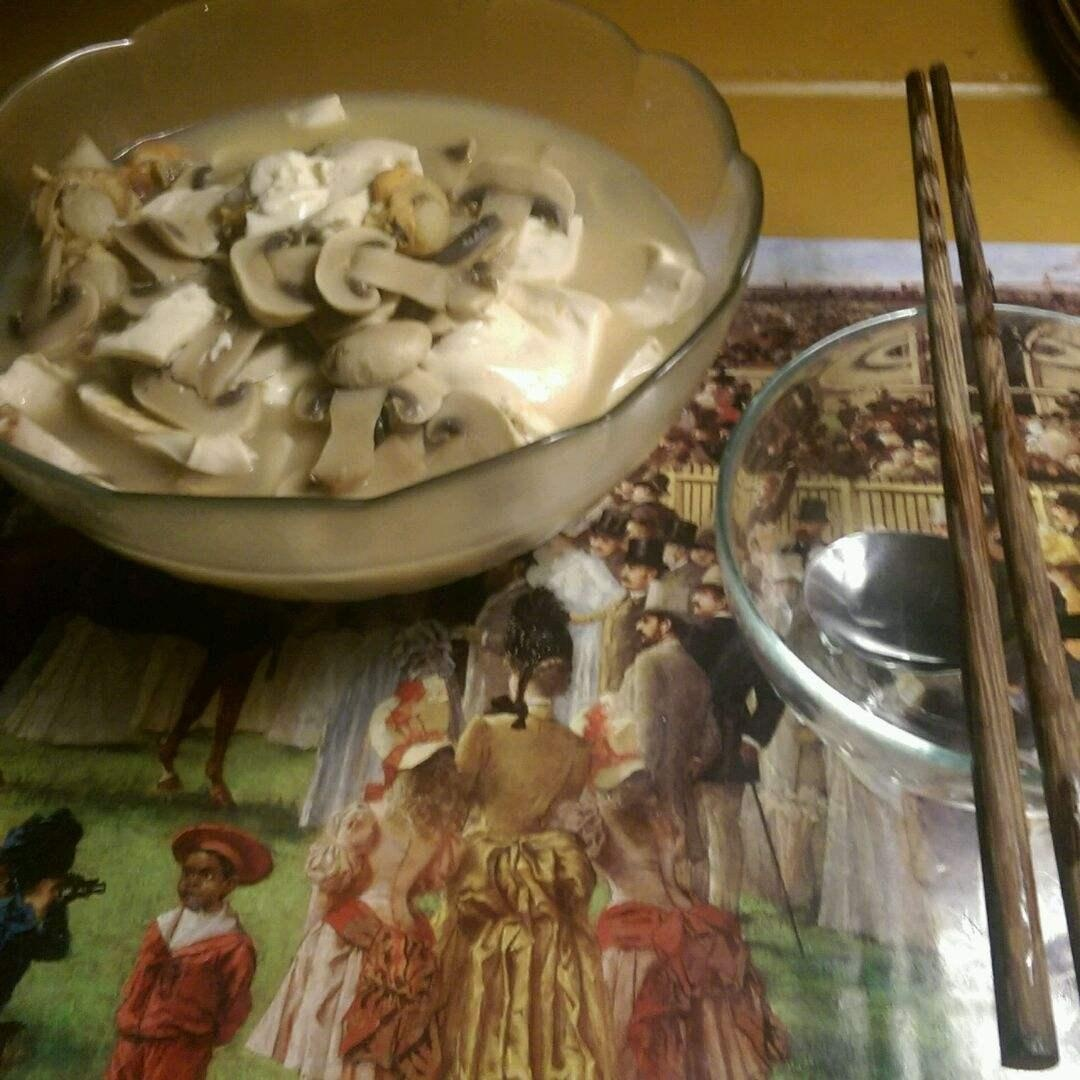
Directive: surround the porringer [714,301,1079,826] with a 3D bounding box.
[{"bbox_3d":[0.230,0.037,0.729,0.266,0.371,0.142,-1,-22,-1],"label":"porringer"}]
